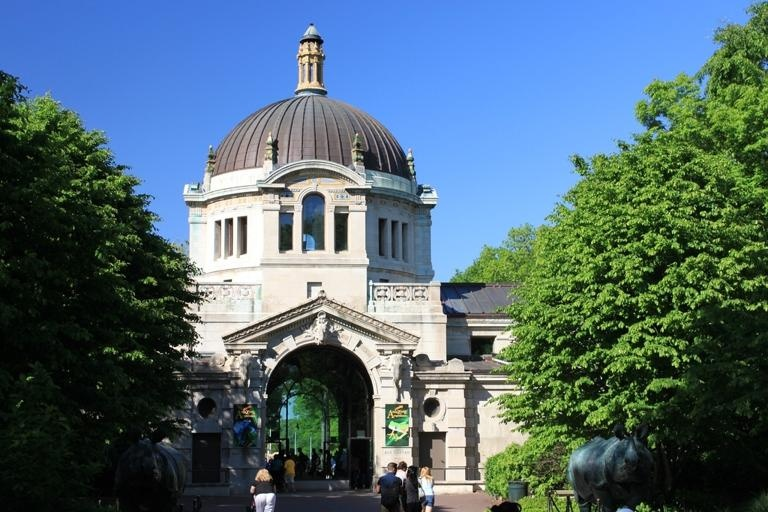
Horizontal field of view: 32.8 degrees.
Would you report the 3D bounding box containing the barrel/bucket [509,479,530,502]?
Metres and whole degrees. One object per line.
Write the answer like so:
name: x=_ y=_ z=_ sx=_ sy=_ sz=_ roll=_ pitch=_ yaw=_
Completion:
barrel/bucket: x=6.341 y=10.999 z=61.525 sx=0.900 sy=0.677 sz=0.923 roll=-1 pitch=-17 yaw=0
